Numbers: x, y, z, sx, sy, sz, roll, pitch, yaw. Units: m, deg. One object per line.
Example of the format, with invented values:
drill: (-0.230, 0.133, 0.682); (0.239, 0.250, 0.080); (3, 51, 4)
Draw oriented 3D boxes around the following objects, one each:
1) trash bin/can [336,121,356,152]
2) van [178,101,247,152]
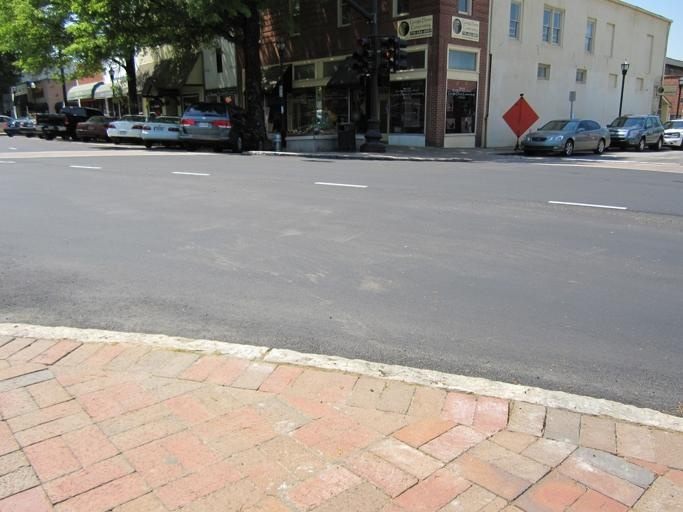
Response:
trash bin/can: (0.233, -6.083, 24.771); (0.426, 1.338, 1.062); (12, 19, 39)
van: (-5.636, -5.685, 21.232); (1.618, 1.303, 3.064); (2, 20, 5)
